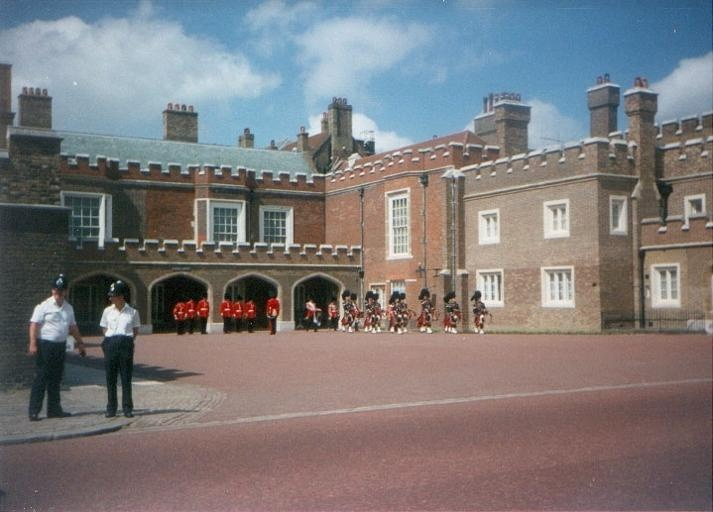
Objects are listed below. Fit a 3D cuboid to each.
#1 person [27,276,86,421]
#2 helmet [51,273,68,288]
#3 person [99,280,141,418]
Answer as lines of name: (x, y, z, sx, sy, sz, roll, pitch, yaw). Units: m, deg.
person: (-5.960, 1.791, 19.406, 0.653, 2.690, 1.256, 2, 6, 34)
helmet: (-5.857, 0.546, 19.620, 0.249, 0.365, 0.222, 13, -38, -38)
person: (-4.673, 1.866, 19.717, 0.726, 2.586, 0.965, -3, 5, -14)
